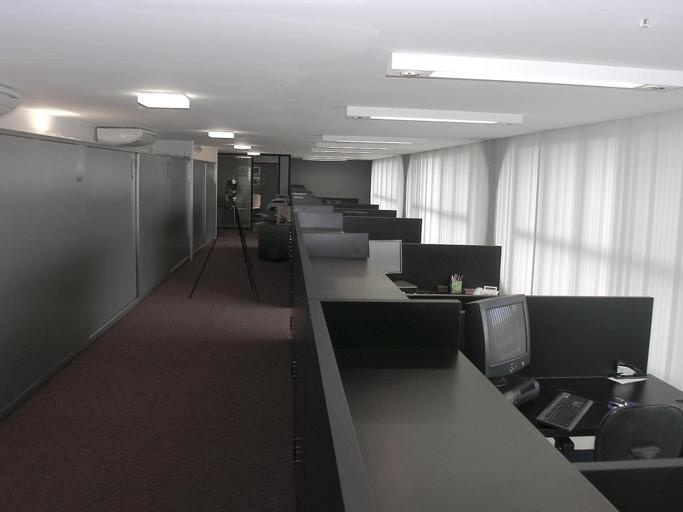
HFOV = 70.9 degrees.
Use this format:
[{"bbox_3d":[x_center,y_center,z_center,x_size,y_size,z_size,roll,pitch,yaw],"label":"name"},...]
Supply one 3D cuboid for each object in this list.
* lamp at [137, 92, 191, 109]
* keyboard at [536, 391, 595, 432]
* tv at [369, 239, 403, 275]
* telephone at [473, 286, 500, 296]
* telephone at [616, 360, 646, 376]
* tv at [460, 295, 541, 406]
[{"bbox_3d":[-1.560,-1.365,4.207,0.234,0.057,0.214,0,0,-9],"label":"lamp"},{"bbox_3d":[1.365,0.942,2.904,0.208,0.037,0.505,10,13,40],"label":"keyboard"},{"bbox_3d":[0.503,0.011,5.488,0.398,0.391,0.035,-2,-2,21],"label":"tv"},{"bbox_3d":[1.607,0.383,5.311,0.262,0.099,0.244,-1,9,8],"label":"telephone"},{"bbox_3d":[2.077,0.804,3.440,0.269,0.110,0.088,1,-4,-8],"label":"telephone"},{"bbox_3d":[1.041,0.583,3.022,0.597,0.661,0.301,-7,13,-38],"label":"tv"}]
